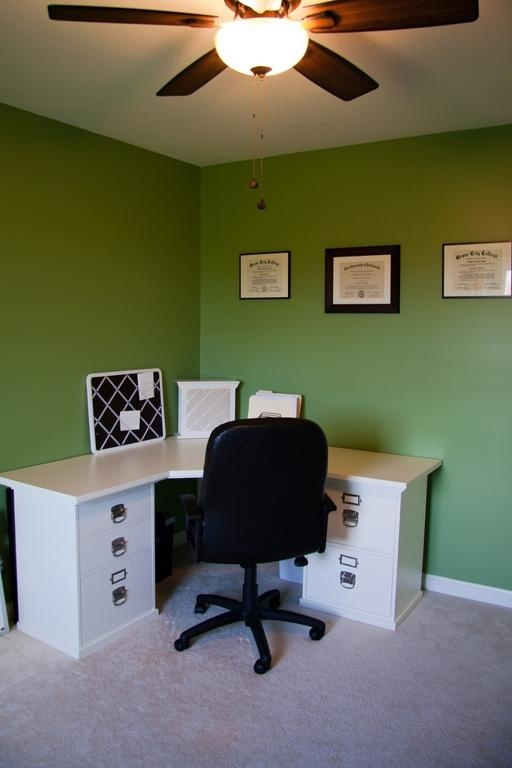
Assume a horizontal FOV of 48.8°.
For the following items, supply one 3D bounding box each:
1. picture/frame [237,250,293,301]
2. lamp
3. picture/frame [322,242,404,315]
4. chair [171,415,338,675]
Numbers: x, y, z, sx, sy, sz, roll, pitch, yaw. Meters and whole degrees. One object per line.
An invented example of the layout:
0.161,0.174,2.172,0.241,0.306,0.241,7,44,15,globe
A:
0.061,-0.587,3.046,0.275,0.241,0.014,2,2,32,picture/frame
0.013,-0.716,1.186,0.187,0.070,0.176,2,3,29,lamp
0.534,-0.509,2.720,0.337,0.315,0.027,4,5,31,picture/frame
-0.008,0.545,2.017,0.582,0.899,0.578,1,3,1,chair
